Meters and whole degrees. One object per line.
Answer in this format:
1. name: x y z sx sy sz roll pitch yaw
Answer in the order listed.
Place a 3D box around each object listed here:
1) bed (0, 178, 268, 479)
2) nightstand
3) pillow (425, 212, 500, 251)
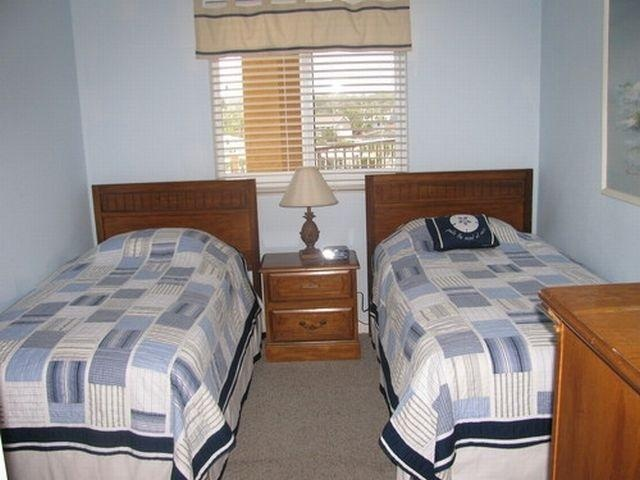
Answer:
1. bed: -1.049 0.494 3.843 2.079 1.782 1.369 -1 10 -3
2. nightstand: -0.166 0.537 3.715 0.807 0.635 0.538 1 -7 -22
3. pillow: 0.985 -0.003 3.460 0.438 0.108 0.252 -3 14 2
